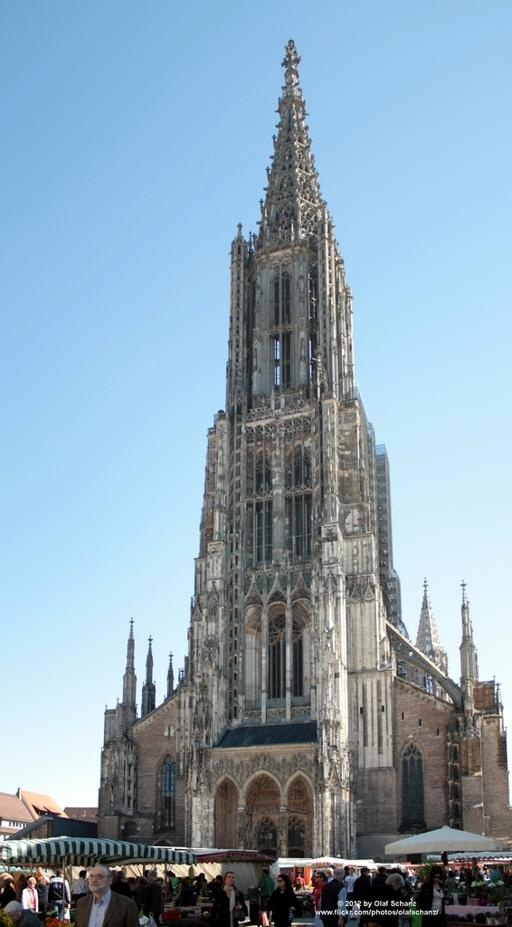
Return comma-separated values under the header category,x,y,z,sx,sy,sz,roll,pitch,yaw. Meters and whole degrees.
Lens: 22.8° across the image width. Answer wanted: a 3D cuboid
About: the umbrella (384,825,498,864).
category,x,y,z,sx,sy,sz,roll,pitch,yaw
umbrella,4.882,9.721,32.936,1.812,0.697,2.960,8,-24,-26
